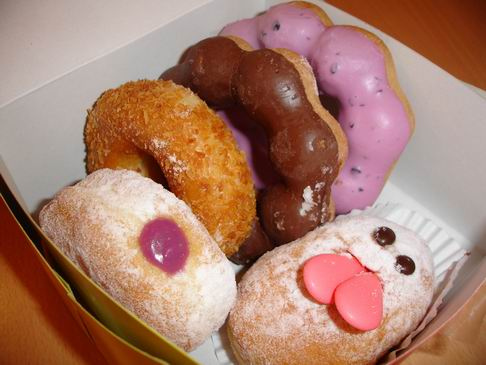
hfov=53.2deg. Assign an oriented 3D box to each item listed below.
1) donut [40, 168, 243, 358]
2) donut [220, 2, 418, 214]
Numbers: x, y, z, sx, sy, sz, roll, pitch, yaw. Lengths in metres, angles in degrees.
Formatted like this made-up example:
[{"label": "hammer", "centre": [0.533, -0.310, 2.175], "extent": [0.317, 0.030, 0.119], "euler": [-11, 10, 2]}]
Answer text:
[{"label": "donut", "centre": [-0.215, 0.120, 0.946], "extent": [0.394, 0.140, 0.265], "euler": [48, 45, -5]}, {"label": "donut", "centre": [0.223, -0.241, 1.135], "extent": [0.159, 0.439, 0.497], "euler": [-26, 97, -34]}]
